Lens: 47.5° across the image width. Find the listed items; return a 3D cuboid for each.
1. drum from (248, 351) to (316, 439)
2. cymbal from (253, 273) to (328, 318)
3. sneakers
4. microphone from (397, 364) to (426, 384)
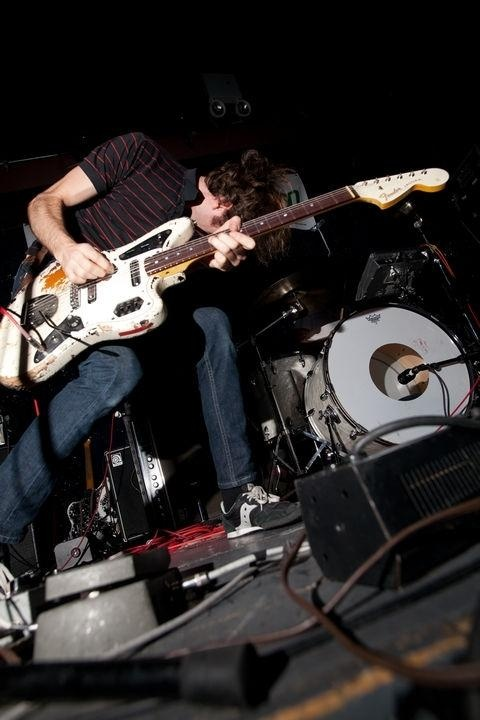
[{"bbox_3d":[0.183,0.167,2.441,0.336,0.335,0.334,-11,57,-8],"label":"drum"},{"bbox_3d":[0.250,-0.313,2.589,0.225,0.221,0.066,-20,61,0],"label":"cymbal"},{"bbox_3d":[0.051,0.426,1.546,0.202,0.167,0.207,-9,36,-5],"label":"sneakers"},{"bbox_3d":[0.593,0.038,1.911,0.040,0.108,0.067,-28,67,-17],"label":"microphone"}]
